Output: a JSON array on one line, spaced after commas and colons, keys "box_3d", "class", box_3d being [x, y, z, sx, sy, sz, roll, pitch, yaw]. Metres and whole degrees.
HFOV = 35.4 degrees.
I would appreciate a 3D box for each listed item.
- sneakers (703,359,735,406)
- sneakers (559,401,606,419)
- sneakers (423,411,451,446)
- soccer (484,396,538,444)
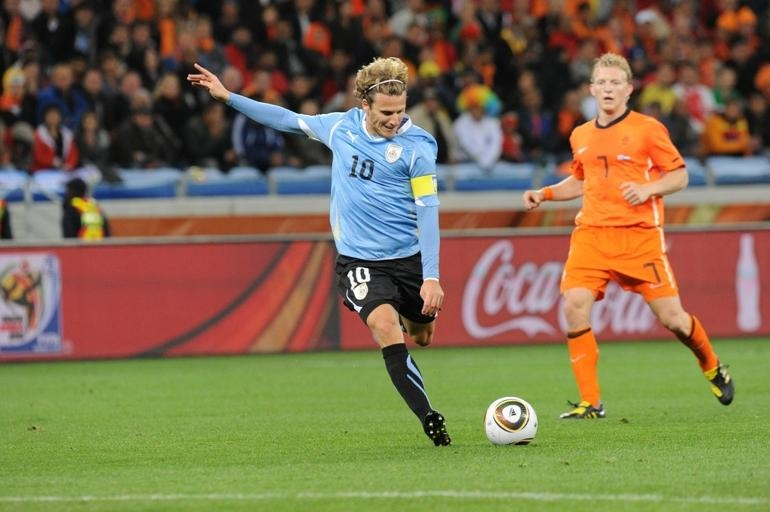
[{"box_3d": [3.443, 1.323, 12.491, 0.196, 0.527, 0.234, -22, -2, 31], "class": "sneakers"}, {"box_3d": [1.992, 1.547, 12.213, 0.491, 0.178, 0.174, 1, -4, -5], "class": "sneakers"}, {"box_3d": [0.457, 1.568, 11.131, 0.196, 0.367, 0.146, -32, 24, -5], "class": "sneakers"}, {"box_3d": [1.149, 1.515, 11.247, 0.447, 0.425, 0.429, 2, -8, -5], "class": "soccer"}]
